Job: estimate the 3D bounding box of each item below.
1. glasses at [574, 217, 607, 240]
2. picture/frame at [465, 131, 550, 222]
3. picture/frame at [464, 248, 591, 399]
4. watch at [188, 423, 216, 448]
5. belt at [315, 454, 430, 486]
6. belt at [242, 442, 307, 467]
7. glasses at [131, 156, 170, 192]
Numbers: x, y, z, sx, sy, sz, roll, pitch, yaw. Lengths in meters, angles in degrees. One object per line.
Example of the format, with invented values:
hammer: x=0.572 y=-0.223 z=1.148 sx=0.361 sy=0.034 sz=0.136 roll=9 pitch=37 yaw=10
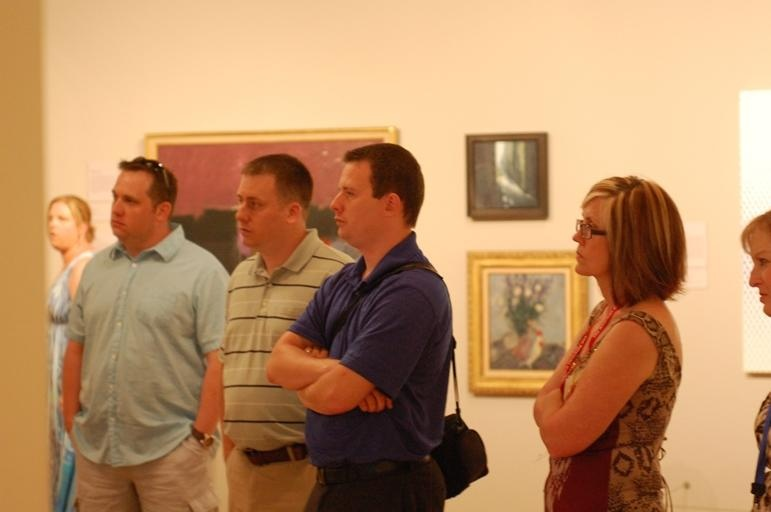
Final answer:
glasses: x=0.793 y=-0.096 z=2.974 sx=0.087 sy=0.028 sz=0.084 roll=12 pitch=-2 yaw=-9
picture/frame: x=0.742 y=-0.457 z=4.585 sx=0.538 sy=0.558 sz=0.039 roll=-1 pitch=0 yaw=7
picture/frame: x=0.807 y=0.379 z=4.306 sx=0.883 sy=1.009 sz=0.067 roll=-1 pitch=-1 yaw=5
watch: x=-0.898 y=0.890 z=3.842 sx=0.089 sy=0.067 sz=0.113 roll=3 pitch=3 yaw=-42
belt: x=-0.043 y=0.807 z=2.913 sx=0.422 sy=0.094 sz=0.069 roll=-1 pitch=-2 yaw=-2
belt: x=-0.463 y=0.863 z=3.358 sx=0.168 sy=0.060 sz=0.127 roll=-4 pitch=-4 yaw=-2
glasses: x=-1.222 y=-0.418 z=4.089 sx=0.168 sy=0.124 sz=0.192 roll=5 pitch=-1 yaw=8
